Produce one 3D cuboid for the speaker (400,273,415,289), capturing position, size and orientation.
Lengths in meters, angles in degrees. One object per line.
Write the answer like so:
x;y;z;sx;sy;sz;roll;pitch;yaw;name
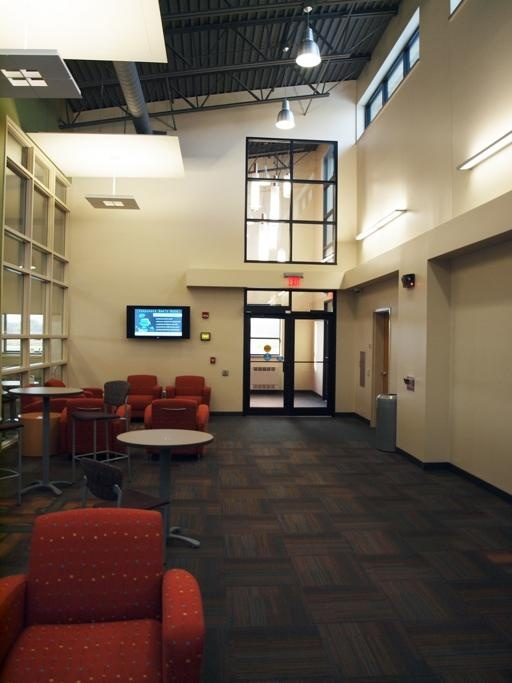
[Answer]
2.027;-0.797;6.623;0.153;0.288;0.201;0;-2;-3;speaker
